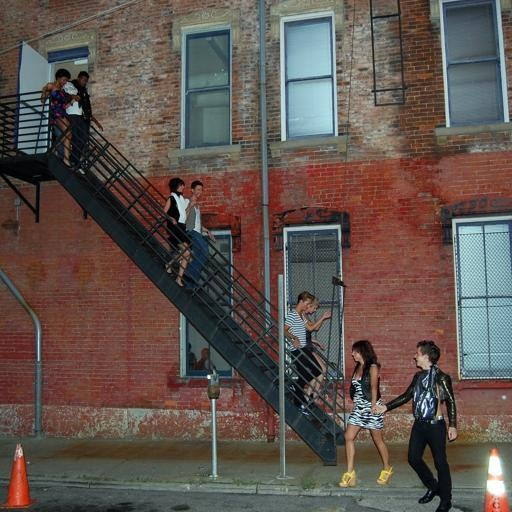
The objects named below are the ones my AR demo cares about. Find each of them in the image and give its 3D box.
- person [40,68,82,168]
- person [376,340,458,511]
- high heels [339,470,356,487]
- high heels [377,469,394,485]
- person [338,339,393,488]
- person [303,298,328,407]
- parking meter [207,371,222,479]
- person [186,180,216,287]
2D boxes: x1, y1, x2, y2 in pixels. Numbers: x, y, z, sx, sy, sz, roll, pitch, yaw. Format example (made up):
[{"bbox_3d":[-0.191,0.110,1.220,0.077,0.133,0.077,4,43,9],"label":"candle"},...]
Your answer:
[{"bbox_3d":[-3.080,-2.294,16.130,0.461,1.778,0.529,-2,1,-45],"label":"person"},{"bbox_3d":[2.057,2.042,12.553,0.872,1.972,0.593,3,-4,-43],"label":"person"},{"bbox_3d":[1.193,2.889,13.241,0.220,0.206,0.316,-3,-8,4],"label":"high heels"},{"bbox_3d":[1.695,2.860,13.251,0.109,0.112,0.294,-12,-4,28],"label":"high heels"},{"bbox_3d":[1.449,2.032,13.175,0.786,1.817,0.778,2,-6,-8],"label":"person"},{"bbox_3d":[0.873,1.383,15.183,0.340,1.415,0.481,2,-2,20],"label":"person"},{"bbox_3d":[-0.567,2.268,13.838,0.225,1.517,0.349,0,-7,-13],"label":"parking meter"},{"bbox_3d":[-0.840,-0.386,15.569,0.469,1.505,0.385,2,-2,-3],"label":"person"}]
